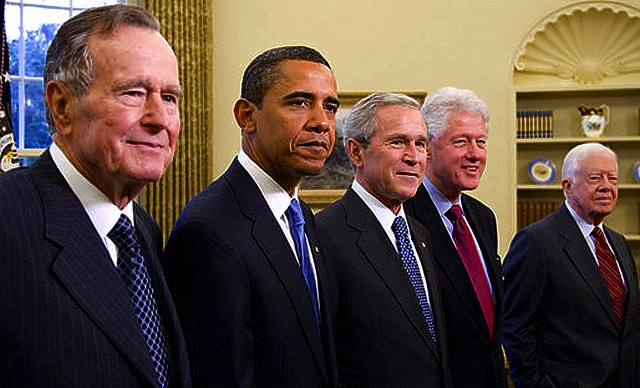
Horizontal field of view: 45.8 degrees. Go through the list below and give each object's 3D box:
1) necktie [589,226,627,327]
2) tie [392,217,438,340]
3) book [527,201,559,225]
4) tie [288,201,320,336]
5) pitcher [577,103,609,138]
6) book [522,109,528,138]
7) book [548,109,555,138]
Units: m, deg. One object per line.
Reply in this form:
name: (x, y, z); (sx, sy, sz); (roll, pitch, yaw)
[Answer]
necktie: (2.147, 0.604, 5.697); (0.142, 0.772, 0.159); (1, 0, 7)
tie: (0.570, 0.439, 4.920); (0.153, 1.007, 0.104); (1, -30, -25)
book: (2.303, 0.201, 7.943); (0.245, 0.233, 0.127); (1, -7, -4)
tie: (-0.109, 0.387, 4.519); (0.132, 0.900, 0.106); (-4, -27, -13)
pitcher: (3.231, -0.865, 9.030); (0.388, 0.414, 0.277); (-3, -2, 39)
book: (2.409, -0.828, 9.006); (0.059, 0.252, 0.049); (1, 0, 6)
book: (2.743, -0.851, 9.085); (0.075, 0.258, 0.246); (1, 0, 16)
